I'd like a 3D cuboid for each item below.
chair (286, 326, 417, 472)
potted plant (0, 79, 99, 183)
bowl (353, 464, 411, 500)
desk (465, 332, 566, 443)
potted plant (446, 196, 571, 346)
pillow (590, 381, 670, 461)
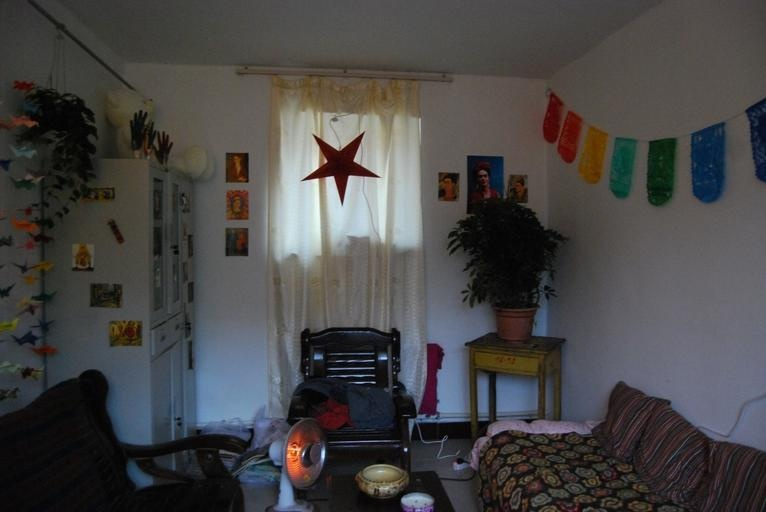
[{"bbox_3d":[-0.204,1.053,4.613,0.903,1.297,1.031,0,-10,-2],"label":"chair"},{"bbox_3d":[-2.054,-0.791,3.756,0.455,0.630,0.433,1,-1,-33],"label":"potted plant"},{"bbox_3d":[-0.009,1.311,3.496,0.319,0.152,0.217,0,-1,0],"label":"bowl"},{"bbox_3d":[1.015,0.994,4.838,0.677,0.867,0.485,3,23,21],"label":"desk"},{"bbox_3d":[0.973,0.203,4.797,0.948,1.092,0.751,7,-12,-4],"label":"potted plant"},{"bbox_3d":[1.608,1.089,3.944,0.124,0.427,0.359,24,2,-28],"label":"pillow"}]
